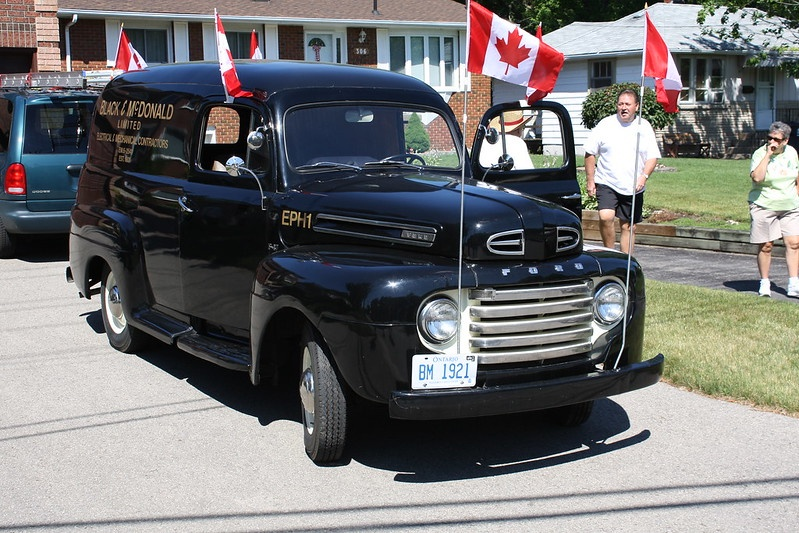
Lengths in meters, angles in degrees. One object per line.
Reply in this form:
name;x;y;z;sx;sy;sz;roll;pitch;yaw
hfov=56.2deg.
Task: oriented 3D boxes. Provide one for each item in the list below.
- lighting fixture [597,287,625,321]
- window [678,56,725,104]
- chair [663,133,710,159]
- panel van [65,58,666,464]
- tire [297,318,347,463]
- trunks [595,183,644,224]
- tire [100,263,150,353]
lighting fixture;1.675;0.302;6.017;0.270;0.304;0.101;3;-1;-29
window;12.417;-7.629;30.877;2.380;1.782;0.672;-9;16;-32
chair;11.336;-4.786;29.719;2.708;0.933;0.739;-9;16;-32
panel van;-0.789;-0.383;7.257;3.115;2.455;5.548;-4;9;-38
tire;-0.642;1.022;5.916;0.544;1.077;0.277;13;19;43
trunks;2.977;-0.874;10.220;0.590;0.520;0.328;15;-22;-15
tire;-2.989;0.450;8.165;0.331;1.096;0.967;-2;4;-41
